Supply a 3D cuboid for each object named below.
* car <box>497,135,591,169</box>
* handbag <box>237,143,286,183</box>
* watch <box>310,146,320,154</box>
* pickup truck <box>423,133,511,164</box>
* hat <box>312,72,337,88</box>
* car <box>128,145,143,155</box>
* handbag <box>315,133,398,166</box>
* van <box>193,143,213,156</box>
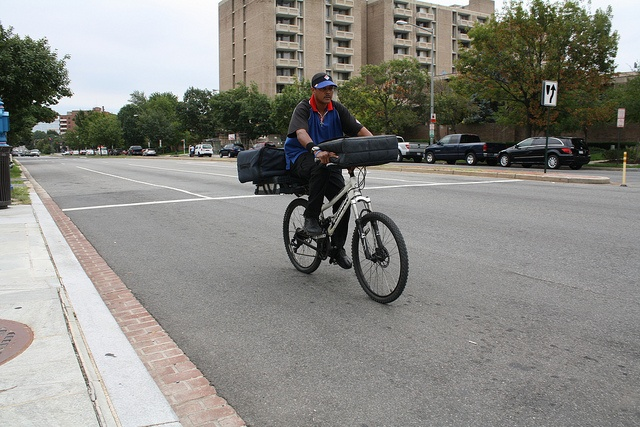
[{"bbox_3d":[11.970,-3.246,26.116,1.895,1.413,4.089,-3,9,-28],"label":"car"},{"bbox_3d":[-0.714,-0.593,6.165,0.670,0.431,0.556,1,4,44],"label":"handbag"},{"bbox_3d":[-0.044,-0.666,5.159,0.083,0.078,0.080,-16,18,-39],"label":"watch"},{"bbox_3d":[9.095,-4.206,30.937,2.157,1.544,4.392,-6,12,-35],"label":"pickup truck"},{"bbox_3d":[0.023,-1.469,5.429,0.170,0.118,0.220,-6,8,-27],"label":"hat"},{"bbox_3d":[-36.536,-12.462,97.390,2.281,1.723,6.167,-6,13,-27],"label":"car"},{"bbox_3d":[0.418,-0.653,5.165,0.852,0.334,0.398,-1,12,-5],"label":"handbag"},{"bbox_3d":[-15.597,-8.544,65.466,1.645,1.008,3.001,-6,12,-26],"label":"van"}]
